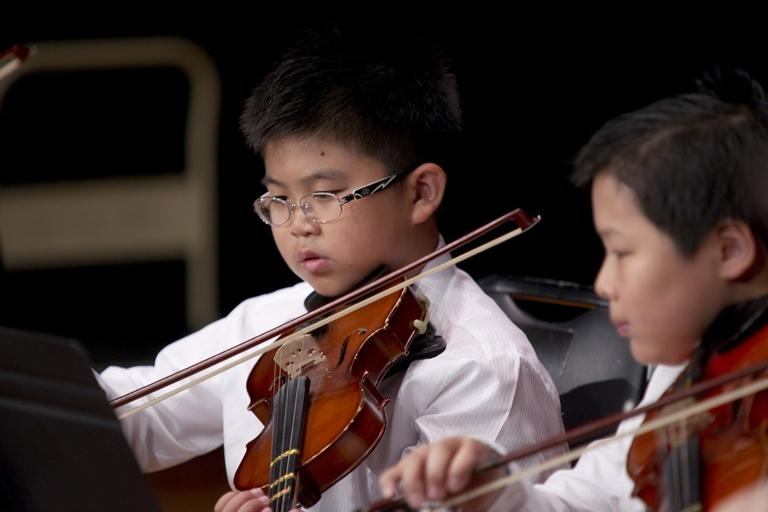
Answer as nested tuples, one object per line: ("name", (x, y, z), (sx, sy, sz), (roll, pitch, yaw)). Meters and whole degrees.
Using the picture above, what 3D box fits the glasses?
("glasses", (-0.084, -0.116, 1.230), (0.224, 0.092, 0.162), (3, 15, 25))
